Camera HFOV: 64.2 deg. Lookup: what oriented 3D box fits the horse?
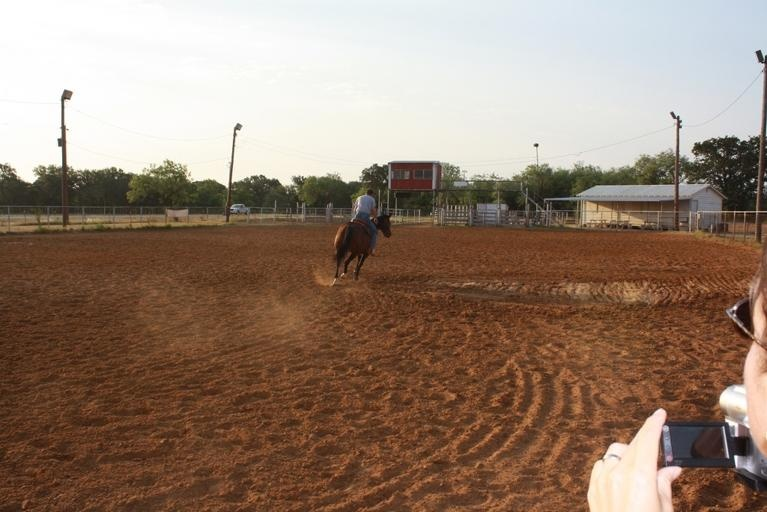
[{"bbox_3d":[-0.530,-0.301,15.992,0.602,1.794,2.555,16,9,23],"label":"horse"}]
